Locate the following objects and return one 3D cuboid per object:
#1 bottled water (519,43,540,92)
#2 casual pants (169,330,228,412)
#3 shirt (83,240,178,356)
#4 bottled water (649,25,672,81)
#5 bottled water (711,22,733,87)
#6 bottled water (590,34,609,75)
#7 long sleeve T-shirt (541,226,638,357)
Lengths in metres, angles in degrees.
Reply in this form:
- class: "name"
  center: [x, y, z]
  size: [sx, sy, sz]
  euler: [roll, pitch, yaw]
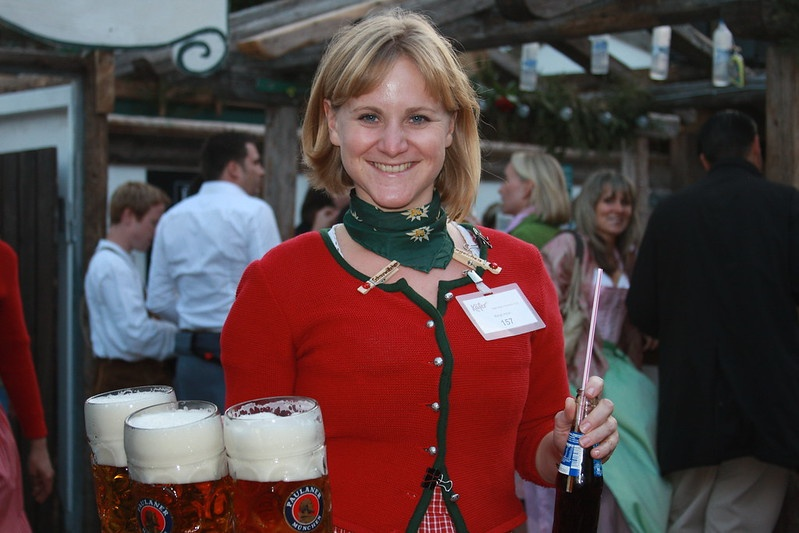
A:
- class: "bottled water"
  center: [0.618, -0.930, 5.447]
  size: [0.091, 0.252, 0.024]
  euler: [1, -23, 7]
- class: "casual pants"
  center: [-0.894, 0.443, 5.085]
  size: [0.372, 0.379, 0.086]
  euler: [1, -2, -45]
- class: "shirt"
  center: [-1.175, 0.133, 5.011]
  size: [0.366, 0.554, 0.441]
  euler: [1, 0, -13]
- class: "bottled water"
  center: [1.181, -0.973, 5.169]
  size: [0.077, 0.317, 0.072]
  euler: [6, 39, 17]
- class: "bottled water"
  center: [1.433, -0.924, 5.062]
  size: [0.090, 0.279, 0.040]
  euler: [-1, 6, 18]
- class: "bottled water"
  center: [0.921, -0.974, 5.275]
  size: [0.106, 0.182, 0.114]
  euler: [7, 23, 21]
- class: "long sleeve T-shirt"
  center: [0.884, 0.125, 5.183]
  size: [0.520, 0.466, 0.188]
  euler: [7, -3, -37]
